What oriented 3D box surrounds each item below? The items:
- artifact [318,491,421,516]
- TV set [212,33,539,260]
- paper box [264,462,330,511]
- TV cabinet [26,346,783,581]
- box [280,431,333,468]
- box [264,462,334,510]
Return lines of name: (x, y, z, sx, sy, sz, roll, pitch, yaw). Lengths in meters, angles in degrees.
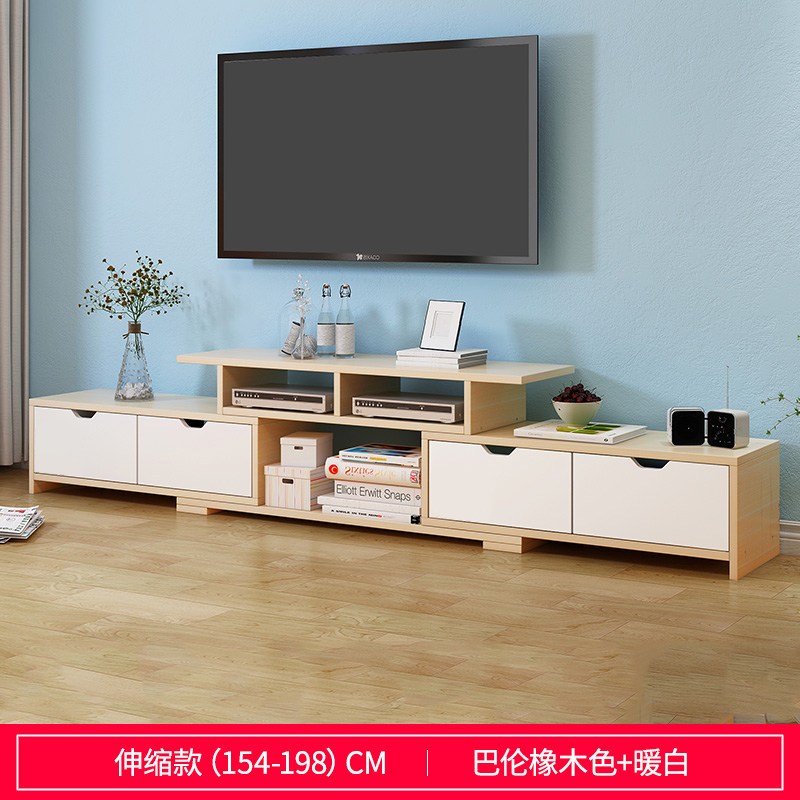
artifact: (-0.108, 0.408, 3.067, 0.236, 0.035, 0.146, 1, 1, 24)
TV set: (-0.052, -1.060, 3.325, 1.379, 0.663, 0.029, 2, 4, 19)
paper box: (-0.416, 0.342, 3.255, 0.225, 0.134, 0.206, 2, 2, 26)
TV cabinet: (-0.073, 0.158, 3.213, 2.884, 0.713, 0.461, 2, 3, 24)
box: (-0.387, 0.203, 3.290, 0.167, 0.086, 0.165, 1, 2, 22)
box: (-0.417, 0.342, 3.270, 0.224, 0.134, 0.206, 2, 2, 26)
